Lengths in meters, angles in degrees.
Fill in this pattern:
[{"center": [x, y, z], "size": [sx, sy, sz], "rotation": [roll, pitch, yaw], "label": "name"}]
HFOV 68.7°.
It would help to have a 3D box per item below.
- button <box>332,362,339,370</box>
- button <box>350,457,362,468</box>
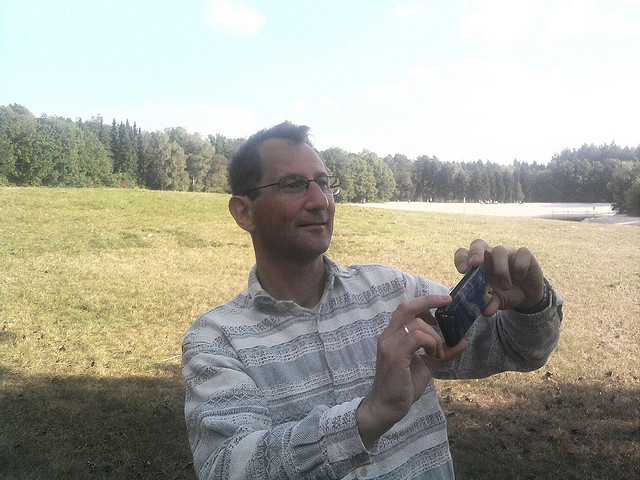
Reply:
[{"center": [0.096, 0.784, 2.907], "size": [0.043, 0.038, 0.024], "rotation": [-1, 8, -11], "label": "button"}, {"center": [0.188, 1.153, 2.442], "size": [0.046, 0.056, 0.013], "rotation": [4, 27, 3], "label": "button"}]
